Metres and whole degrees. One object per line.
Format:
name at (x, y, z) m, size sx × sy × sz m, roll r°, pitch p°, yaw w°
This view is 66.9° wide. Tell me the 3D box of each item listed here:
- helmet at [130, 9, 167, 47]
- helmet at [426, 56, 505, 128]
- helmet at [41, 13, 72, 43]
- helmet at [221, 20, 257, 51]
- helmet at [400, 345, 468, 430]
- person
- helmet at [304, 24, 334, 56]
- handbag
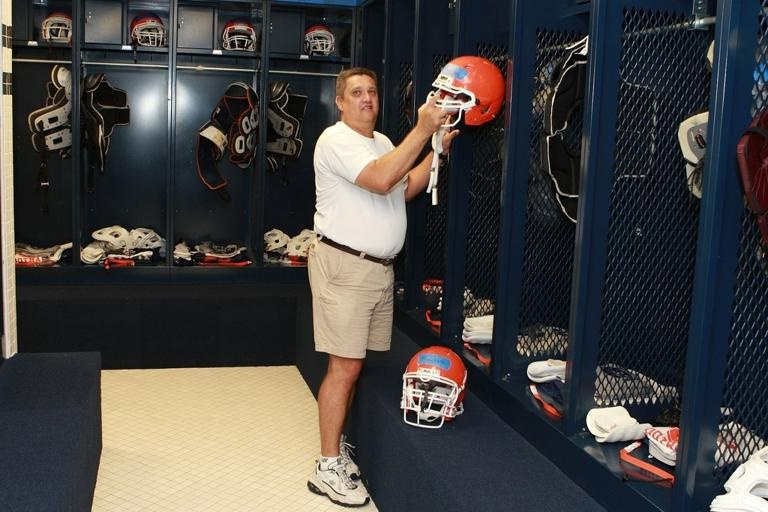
helmet at (-2.139, -2.076, 5.266) m, size 0.290 × 0.304 × 0.379 m, roll -9°, pitch 22°, yaw -37°
helmet at (0.424, -0.845, 2.892) m, size 0.387 × 0.312 × 0.290 m, roll -13°, pitch 32°, yaw -28°
helmet at (-2.900, -2.008, 5.127) m, size 0.222 × 0.266 × 0.265 m, roll 3°, pitch 55°, yaw -21°
helmet at (-1.325, -1.998, 5.286) m, size 0.238 × 0.249 × 0.308 m, roll 2°, pitch -1°, yaw -15°
helmet at (0.242, 0.586, 2.793) m, size 0.326 × 0.329 × 0.405 m, roll 3°, pitch 8°, yaw -5°
person at (-0.096, 0.155, 3.037) m, size 0.628 × 2.207 × 0.619 m, roll 3°, pitch 12°, yaw 3°
helmet at (-0.626, -2.007, 5.522) m, size 0.269 × 0.266 × 0.321 m, roll -2°, pitch 7°, yaw -14°
handbag at (1.230, 0.688, 2.138) m, size 0.255 × 0.082 × 0.259 m, roll -4°, pitch 5°, yaw -23°
